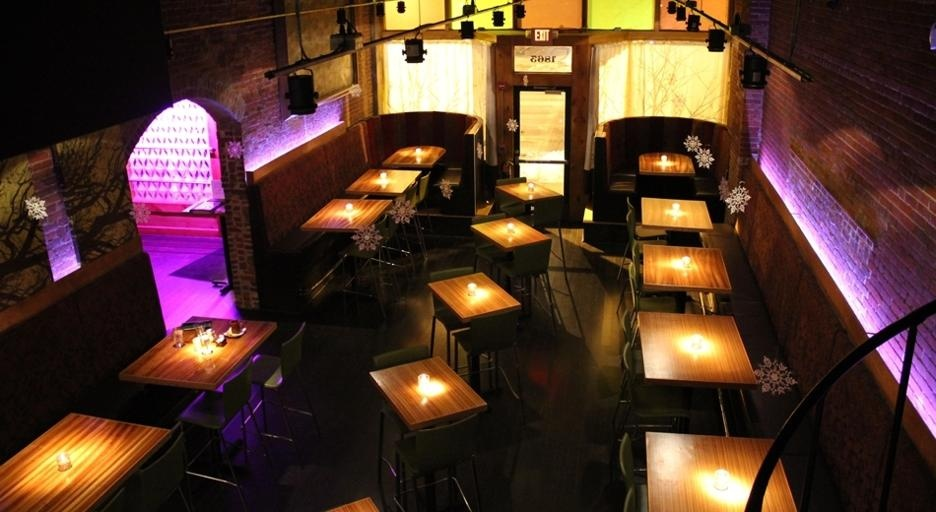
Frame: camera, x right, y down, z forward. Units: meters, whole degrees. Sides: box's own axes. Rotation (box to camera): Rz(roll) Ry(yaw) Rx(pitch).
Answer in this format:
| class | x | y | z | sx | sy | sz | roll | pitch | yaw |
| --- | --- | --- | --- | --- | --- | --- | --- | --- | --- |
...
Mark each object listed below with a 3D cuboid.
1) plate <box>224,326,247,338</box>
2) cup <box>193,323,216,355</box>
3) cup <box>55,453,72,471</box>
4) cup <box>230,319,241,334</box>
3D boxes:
| class | x | y | z | sx | sy | sz | roll | pitch | yaw |
| --- | --- | --- | --- | --- | --- | --- | --- | --- | --- |
| plate | -3.154 | 1.010 | 8.312 | 0.205 | 0.063 | 0.165 | 2 | 17 | 5 |
| cup | -3.515 | 1.111 | 8.172 | 0.200 | 0.331 | 0.196 | 5 | 34 | -3 |
| cup | -4.459 | 2.242 | 6.759 | 0.136 | 0.157 | 0.185 | -19 | 29 | -35 |
| cup | -3.170 | 0.968 | 8.360 | 0.121 | 0.177 | 0.193 | 2 | 6 | 26 |
